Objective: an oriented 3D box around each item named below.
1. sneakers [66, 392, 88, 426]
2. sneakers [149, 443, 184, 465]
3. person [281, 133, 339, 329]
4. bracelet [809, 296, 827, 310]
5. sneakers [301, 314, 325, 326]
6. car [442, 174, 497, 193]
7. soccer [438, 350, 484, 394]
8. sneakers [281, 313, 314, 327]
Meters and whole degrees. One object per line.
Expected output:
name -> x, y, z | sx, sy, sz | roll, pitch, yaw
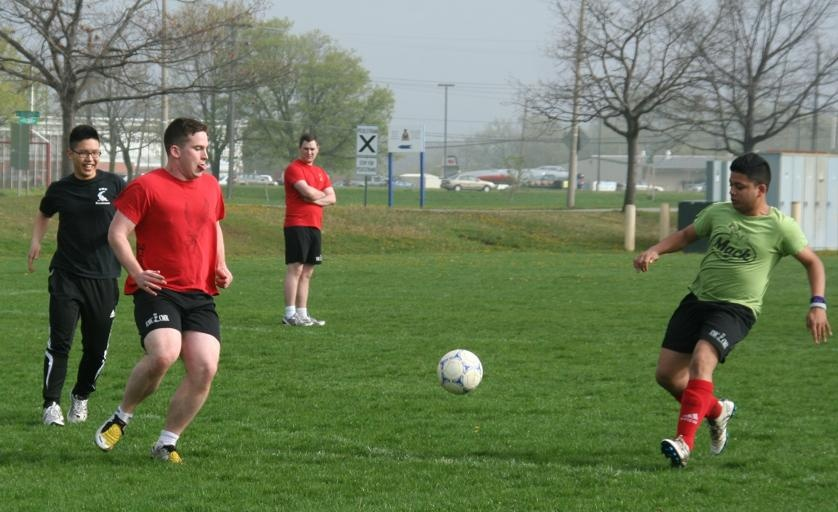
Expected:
sneakers -> -5.427, 2.402, 17.468 | 0.245, 0.519, 0.201 | -14, -37, 6
sneakers -> -3.803, 2.968, 16.558 | 0.600, 0.220, 0.208 | 5, 5, 21
person -> -2.142, -0.503, 21.122 | 0.897, 3.662, 0.881 | 1, 6, -6
bracelet -> 6.118, 0.705, 16.870 | 0.266, 0.170, 0.246 | 1, 0, -4
sneakers -> -1.999, 1.230, 21.273 | 0.599, 0.206, 0.182 | 1, 2, -9
car -> 3.817, -5.196, 79.767 | 3.803, 1.043, 1.627 | -2, 8, -13
soccer -> 0.666, 1.914, 18.006 | 0.712, 0.750, 0.282 | 1, 5, 0
sneakers -> -2.329, 1.240, 21.117 | 0.595, 0.204, 0.212 | 0, 0, 0
